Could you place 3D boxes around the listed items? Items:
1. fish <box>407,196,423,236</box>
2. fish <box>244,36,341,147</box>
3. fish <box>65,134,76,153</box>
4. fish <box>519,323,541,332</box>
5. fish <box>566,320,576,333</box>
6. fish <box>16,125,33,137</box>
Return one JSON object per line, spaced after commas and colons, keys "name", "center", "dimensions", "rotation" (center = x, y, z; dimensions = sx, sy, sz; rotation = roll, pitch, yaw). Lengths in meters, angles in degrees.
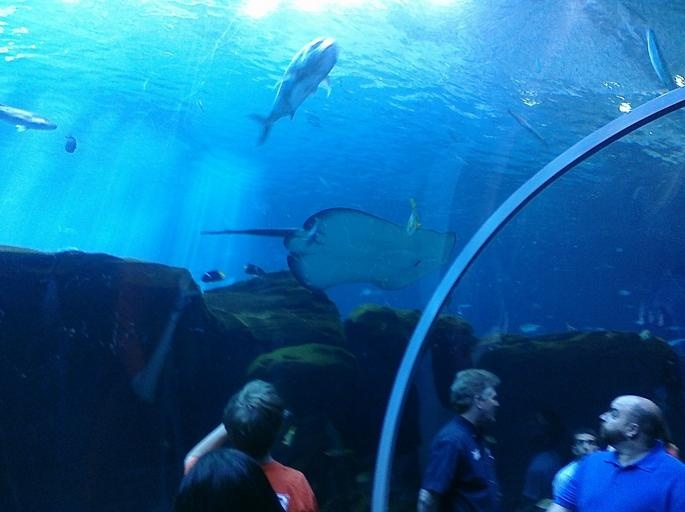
{"name": "fish", "center": [0.796, -0.465, 6.223], "dimensions": [0.186, 0.369, 0.150], "rotation": [-7, -4, -34]}
{"name": "fish", "center": [-0.530, -1.822, 6.121], "dimensions": [1.394, 0.540, 0.434], "rotation": [-38, -13, 30]}
{"name": "fish", "center": [-3.217, -1.331, 6.436], "dimensions": [0.159, 0.193, 0.062], "rotation": [2, 9, -8]}
{"name": "fish", "center": [2.311, 0.892, 6.748], "dimensions": [0.377, 0.108, 0.076], "rotation": [12, -21, -32]}
{"name": "fish", "center": [2.904, 0.903, 6.989], "dimensions": [0.089, 0.117, 0.194], "rotation": [-15, -24, 40]}
{"name": "fish", "center": [-3.834, -1.505, 6.532], "dimensions": [0.186, 0.088, 0.068], "rotation": [4, 11, 6]}
